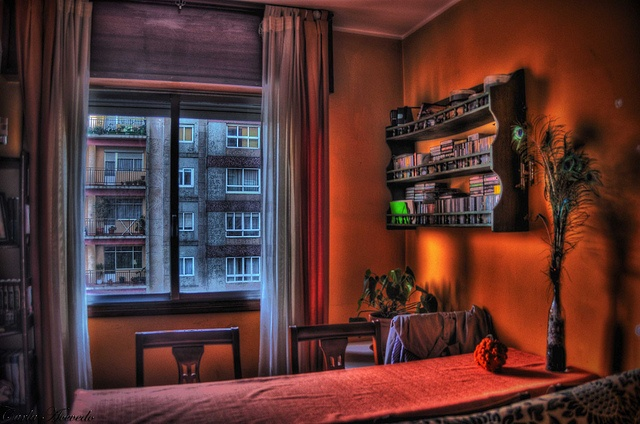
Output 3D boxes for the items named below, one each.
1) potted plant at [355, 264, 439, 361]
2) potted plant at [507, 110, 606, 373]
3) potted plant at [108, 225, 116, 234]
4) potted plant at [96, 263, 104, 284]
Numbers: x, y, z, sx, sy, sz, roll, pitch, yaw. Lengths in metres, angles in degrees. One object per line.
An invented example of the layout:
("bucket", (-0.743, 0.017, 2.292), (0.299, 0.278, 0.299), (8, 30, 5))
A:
("potted plant", (0.538, 0.898, 5.089), (0.627, 0.704, 0.667), (19, -17, -13))
("potted plant", (1.711, 0.205, 4.020), (0.280, 1.840, 0.560), (0, -3, -31))
("potted plant", (-1.882, 0.160, 5.104), (0.068, 0.099, 0.071), (3, -6, -7))
("potted plant", (-1.990, 0.562, 5.103), (0.065, 0.181, 0.026), (-1, -3, -17))
